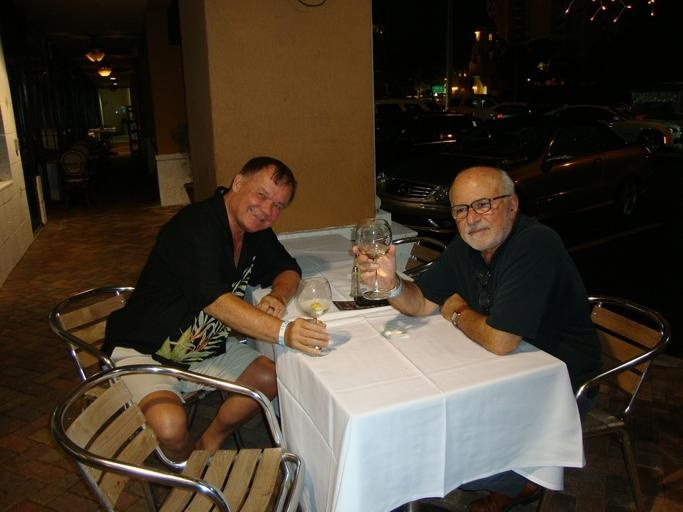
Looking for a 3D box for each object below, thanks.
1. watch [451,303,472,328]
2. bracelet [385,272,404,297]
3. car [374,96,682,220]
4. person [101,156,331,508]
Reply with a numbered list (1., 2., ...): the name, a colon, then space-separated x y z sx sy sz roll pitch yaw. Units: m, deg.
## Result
1. watch: 0.589 0.300 2.364 0.033 0.090 0.087 26 40 25
2. bracelet: 0.262 0.149 2.371 0.078 0.108 0.045 -3 3 -24
3. car: 1.789 -1.038 5.318 2.410 0.840 1.111 7 20 14
4. person: -0.697 0.370 2.729 1.351 1.961 1.182 8 6 0
